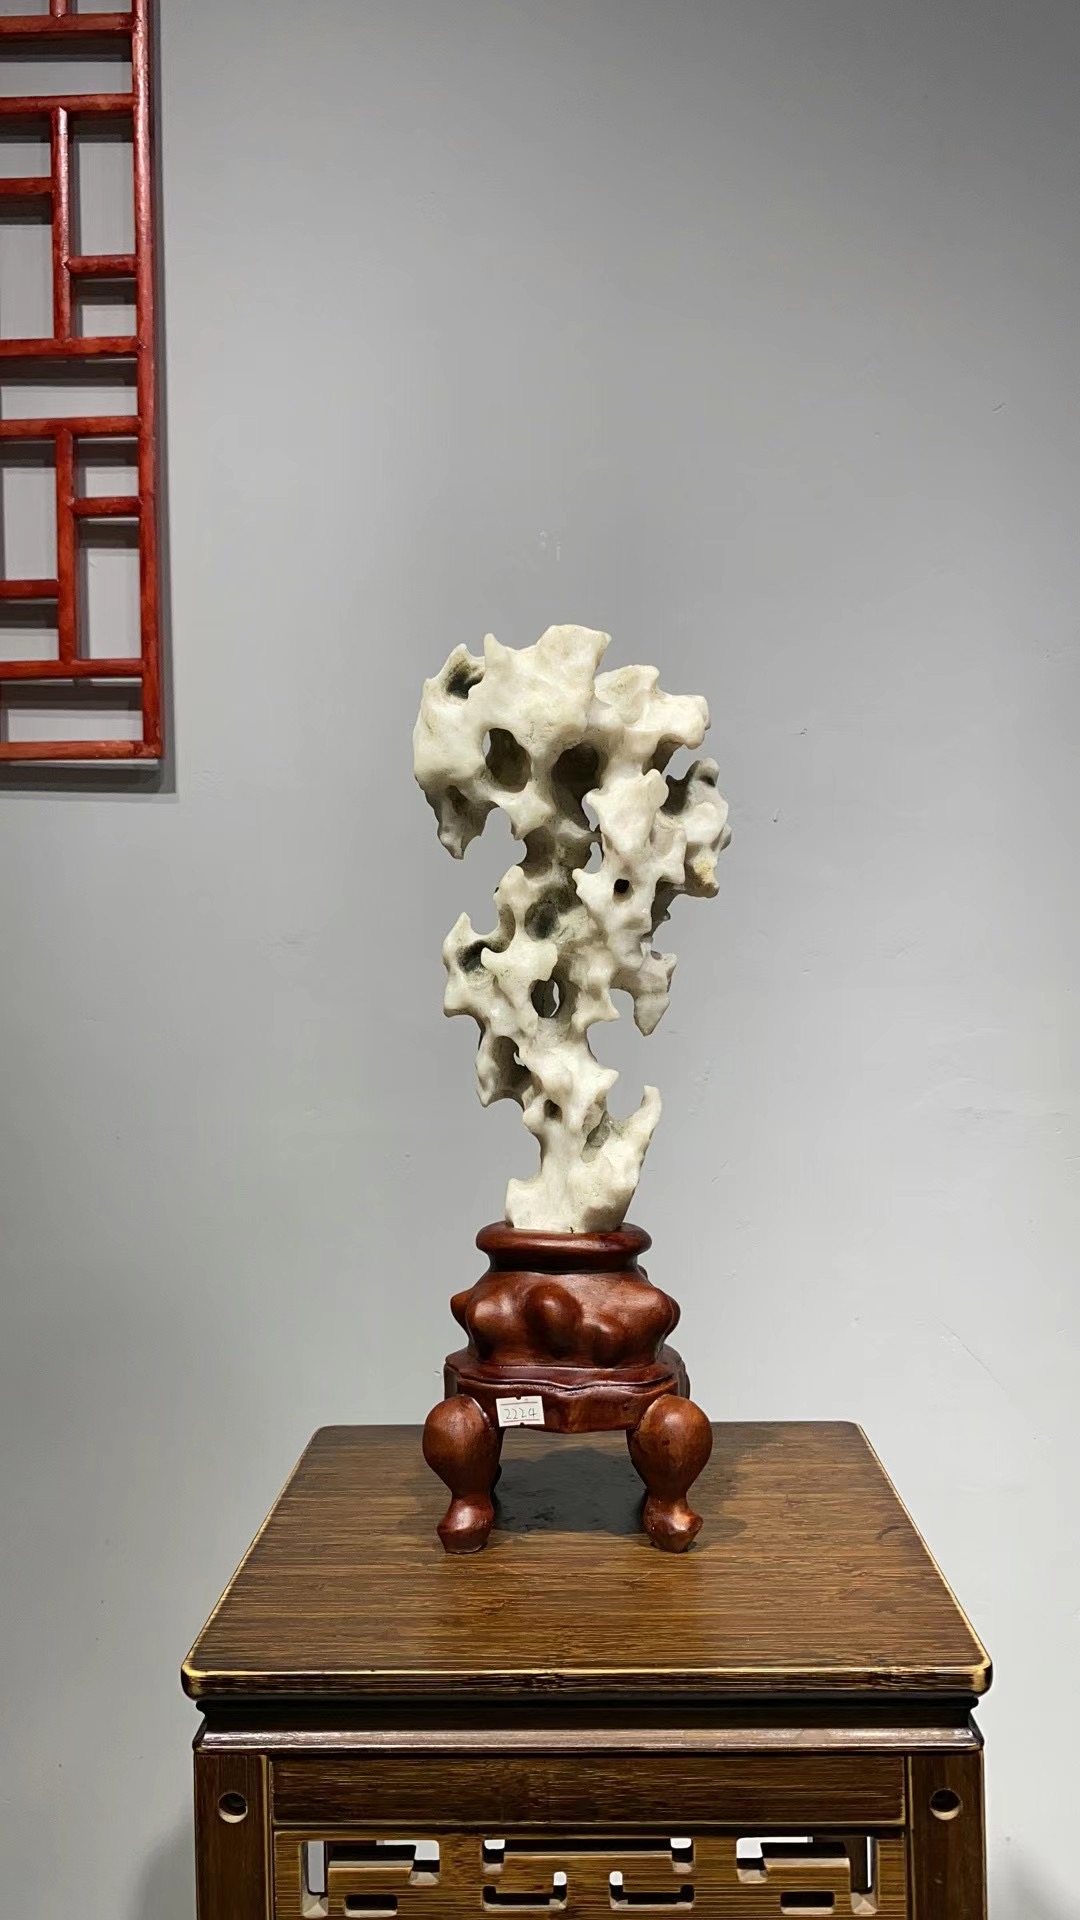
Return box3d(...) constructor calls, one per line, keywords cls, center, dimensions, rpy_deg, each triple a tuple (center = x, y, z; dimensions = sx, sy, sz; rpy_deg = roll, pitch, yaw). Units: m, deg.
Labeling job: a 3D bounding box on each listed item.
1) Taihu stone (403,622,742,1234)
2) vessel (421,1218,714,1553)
box3d(cls="Taihu stone", center=(0.031, -0.029, 1.769), dimensions=(0.236, 0.451, 0.230), rpy_deg=(-4, 10, -3))
box3d(cls="vessel", center=(0.021, 0.309, 1.748), dimensions=(0.242, 0.225, 0.265), rpy_deg=(-1, 3, -17))
